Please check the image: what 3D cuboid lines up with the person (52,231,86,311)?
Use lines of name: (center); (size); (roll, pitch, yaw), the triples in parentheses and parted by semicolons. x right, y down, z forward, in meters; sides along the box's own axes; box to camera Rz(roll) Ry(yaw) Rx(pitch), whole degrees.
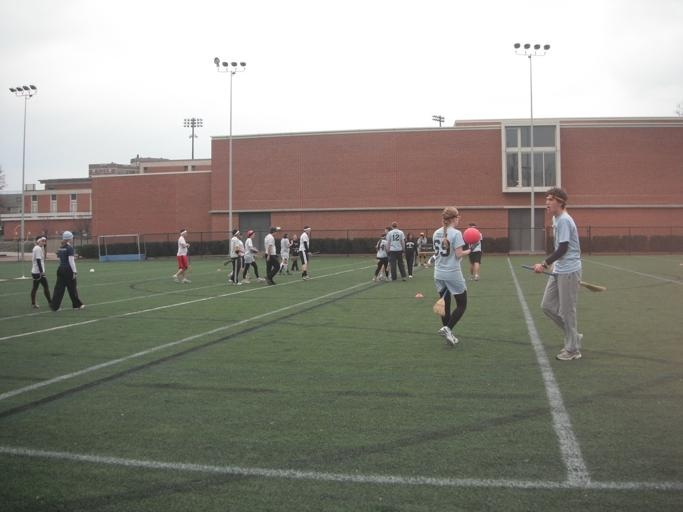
person: (-6.482, 0.371, 16.155); (0.589, 2.086, 0.709); (6, 7, -26)
